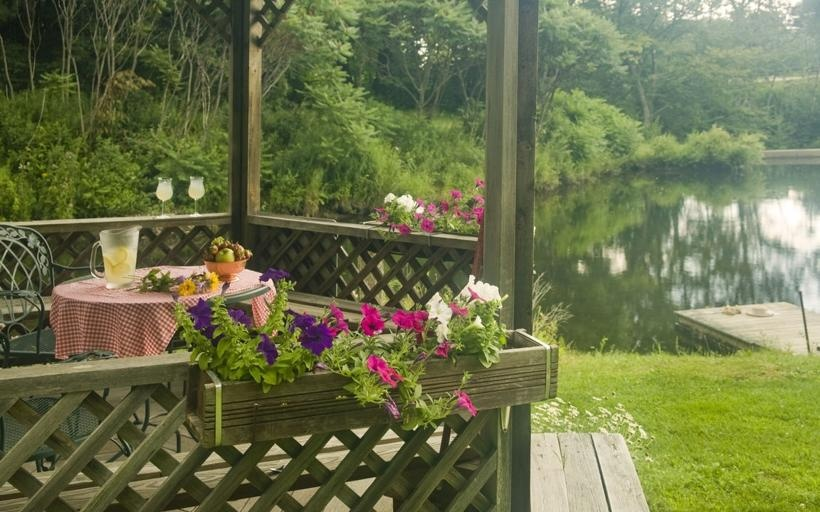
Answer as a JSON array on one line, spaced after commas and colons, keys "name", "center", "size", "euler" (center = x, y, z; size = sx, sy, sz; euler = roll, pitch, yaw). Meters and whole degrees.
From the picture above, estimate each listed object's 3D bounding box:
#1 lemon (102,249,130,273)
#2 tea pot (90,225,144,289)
[{"name": "lemon", "center": [-3.104, 0.056, 8.357], "size": [0.240, 0.259, 0.250], "euler": [1, -4, -9]}, {"name": "tea pot", "center": [-3.191, 0.024, 8.463], "size": [0.495, 0.662, 0.339], "euler": [-2, 12, -19]}]
